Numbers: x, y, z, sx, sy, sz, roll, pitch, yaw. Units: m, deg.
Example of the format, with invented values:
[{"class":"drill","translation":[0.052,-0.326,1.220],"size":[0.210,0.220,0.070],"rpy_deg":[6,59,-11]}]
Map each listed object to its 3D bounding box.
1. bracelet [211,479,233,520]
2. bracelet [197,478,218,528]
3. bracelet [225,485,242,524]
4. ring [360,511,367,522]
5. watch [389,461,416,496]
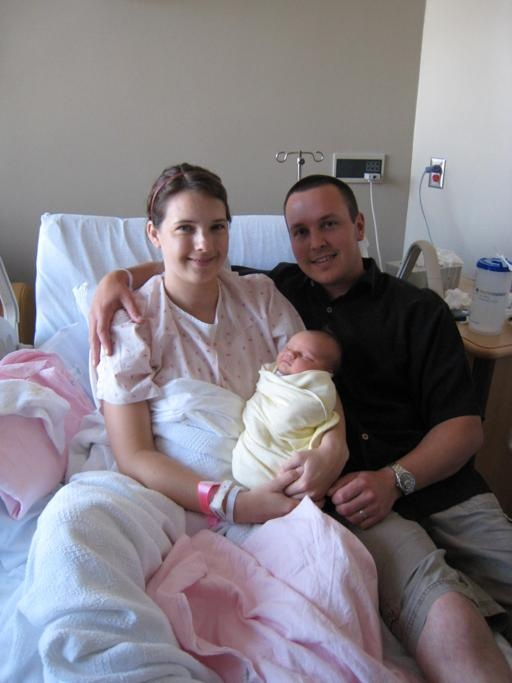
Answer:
[{"class":"bracelet","translation":[-0.072,0.337,1.157],"size":[0.056,0.069,0.031],"rpy_deg":[-2,-11,41]},{"class":"bracelet","translation":[-0.107,0.346,1.168],"size":[0.044,0.080,0.059],"rpy_deg":[-1,-1,-20]},{"class":"bracelet","translation":[-0.051,0.342,1.162],"size":[0.017,0.065,0.049],"rpy_deg":[12,-4,-15]},{"class":"ring","translation":[0.238,0.385,1.214],"size":[0.019,0.024,0.009],"rpy_deg":[4,-6,-27]},{"class":"watch","translation":[0.347,0.319,1.276],"size":[0.046,0.071,0.073],"rpy_deg":[-30,-10,-7]}]
